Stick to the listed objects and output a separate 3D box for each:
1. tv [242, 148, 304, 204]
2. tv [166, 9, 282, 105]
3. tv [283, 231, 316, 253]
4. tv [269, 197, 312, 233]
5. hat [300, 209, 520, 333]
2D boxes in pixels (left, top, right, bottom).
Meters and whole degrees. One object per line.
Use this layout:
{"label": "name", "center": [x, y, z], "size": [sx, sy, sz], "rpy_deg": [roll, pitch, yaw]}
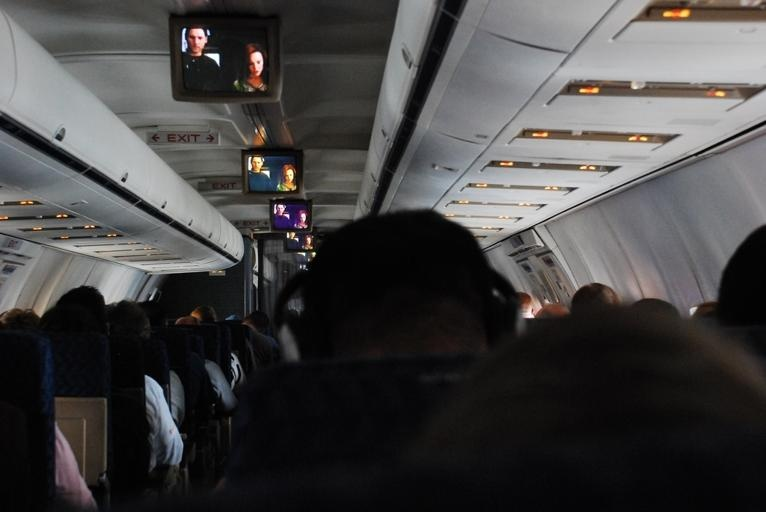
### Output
{"label": "tv", "center": [-1.885, -1.511, 9.930], "size": [1.389, 1.000, 0.725], "rpy_deg": [3, 5, 25]}
{"label": "tv", "center": [-1.788, -2.057, 5.483], "size": [1.214, 0.794, 0.680], "rpy_deg": [-18, 35, -39]}
{"label": "tv", "center": [-2.611, -0.446, 16.518], "size": [0.834, 0.487, 0.389], "rpy_deg": [1, -5, -8]}
{"label": "tv", "center": [-2.074, -0.985, 12.878], "size": [1.225, 0.768, 0.683], "rpy_deg": [3, 8, 27]}
{"label": "hat", "center": [0.046, 0.063, 1.122], "size": [0.292, 0.122, 0.304], "rpy_deg": [-4, -19, 5]}
